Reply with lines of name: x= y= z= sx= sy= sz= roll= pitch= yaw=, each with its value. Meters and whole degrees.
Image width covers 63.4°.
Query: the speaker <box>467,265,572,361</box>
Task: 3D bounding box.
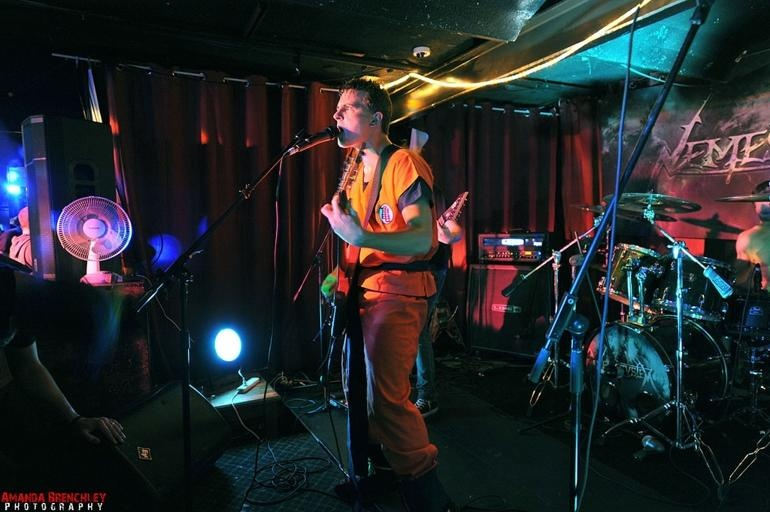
speaker: x=1.387 y=0.596 z=6.481 sx=1.035 sy=1.003 sz=0.429 roll=1 pitch=0 yaw=37

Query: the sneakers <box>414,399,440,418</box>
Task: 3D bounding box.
sneakers: x=0.367 y=1.333 z=5.493 sx=0.405 sy=0.174 sz=0.137 roll=11 pitch=-15 yaw=-36

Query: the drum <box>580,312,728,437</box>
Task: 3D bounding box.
drum: x=2.418 y=0.824 z=5.542 sx=0.902 sy=1.207 sz=1.185 roll=-3 pitch=5 yaw=-31

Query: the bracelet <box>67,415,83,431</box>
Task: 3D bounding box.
bracelet: x=-2.127 y=1.135 z=4.290 sx=0.091 sy=0.064 sz=0.062 roll=5 pitch=8 yaw=21

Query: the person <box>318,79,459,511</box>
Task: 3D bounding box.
person: x=0.053 y=0.255 z=4.287 sx=0.928 sy=2.927 sz=0.605 roll=2 pitch=8 yaw=7

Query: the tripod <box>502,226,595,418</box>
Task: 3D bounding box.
tripod: x=1.636 y=0.396 z=6.397 sx=0.921 sy=1.664 sz=2.123 roll=4 pitch=8 yaw=15

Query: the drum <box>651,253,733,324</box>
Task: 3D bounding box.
drum: x=2.541 y=0.257 z=5.322 sx=0.526 sy=0.418 sz=0.539 roll=24 pitch=-4 yaw=2

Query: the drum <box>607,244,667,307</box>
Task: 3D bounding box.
drum: x=2.201 y=0.162 z=5.553 sx=0.486 sy=0.468 sz=0.490 roll=19 pitch=0 yaw=28

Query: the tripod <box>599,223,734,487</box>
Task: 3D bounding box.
tripod: x=2.348 y=0.697 z=5.024 sx=0.875 sy=1.914 sz=0.676 roll=6 pitch=9 yaw=30

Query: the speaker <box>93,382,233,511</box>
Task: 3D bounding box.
speaker: x=-1.613 y=1.335 z=4.710 sx=0.709 sy=0.853 sz=0.942 roll=-22 pitch=-8 yaw=6
